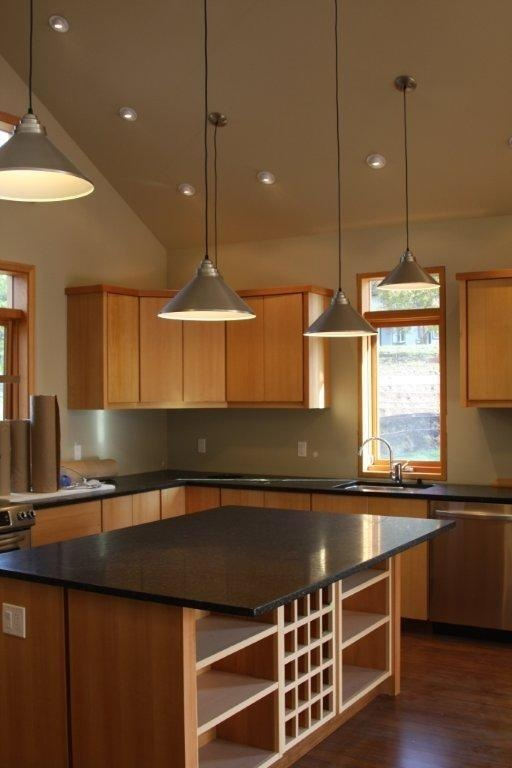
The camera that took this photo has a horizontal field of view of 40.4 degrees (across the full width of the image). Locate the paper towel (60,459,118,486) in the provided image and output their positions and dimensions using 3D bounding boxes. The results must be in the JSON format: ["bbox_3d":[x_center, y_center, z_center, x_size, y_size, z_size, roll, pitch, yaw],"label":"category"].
[{"bbox_3d":[-1.149,0.594,4.809,0.127,0.126,0.459,-2,-5,25],"label":"paper towel"}]

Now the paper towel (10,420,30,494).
[{"bbox_3d":[-1.265,0.376,3.701,0.118,0.390,0.100,-4,-13,-2],"label":"paper towel"}]

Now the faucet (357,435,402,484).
[{"bbox_3d":[0.901,0.530,4.924,0.285,0.325,0.441,-1,-2,-11],"label":"faucet"}]
